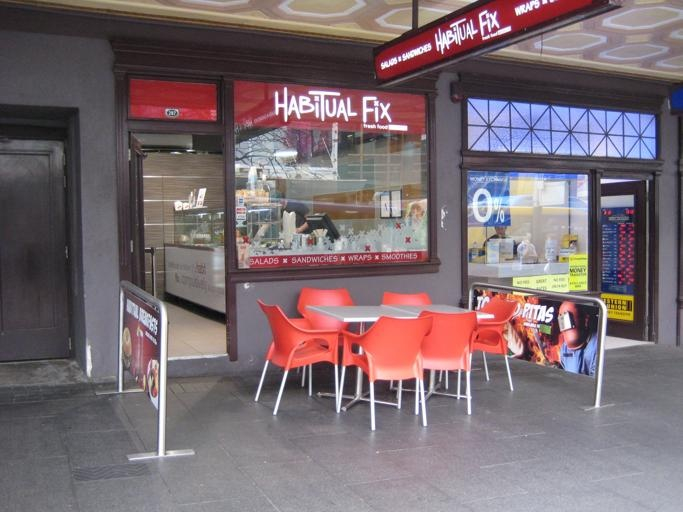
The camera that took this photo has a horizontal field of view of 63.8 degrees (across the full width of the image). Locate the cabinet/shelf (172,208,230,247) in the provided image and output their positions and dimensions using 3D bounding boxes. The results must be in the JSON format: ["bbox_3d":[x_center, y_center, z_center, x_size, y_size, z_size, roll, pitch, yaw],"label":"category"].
[{"bbox_3d":[-2.979,-0.597,11.250,0.483,0.784,3.127,-2,6,-25],"label":"cabinet/shelf"}]

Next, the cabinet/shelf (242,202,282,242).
[{"bbox_3d":[-1.051,-0.487,7.160,0.548,0.544,0.421,-1,8,-22],"label":"cabinet/shelf"}]
